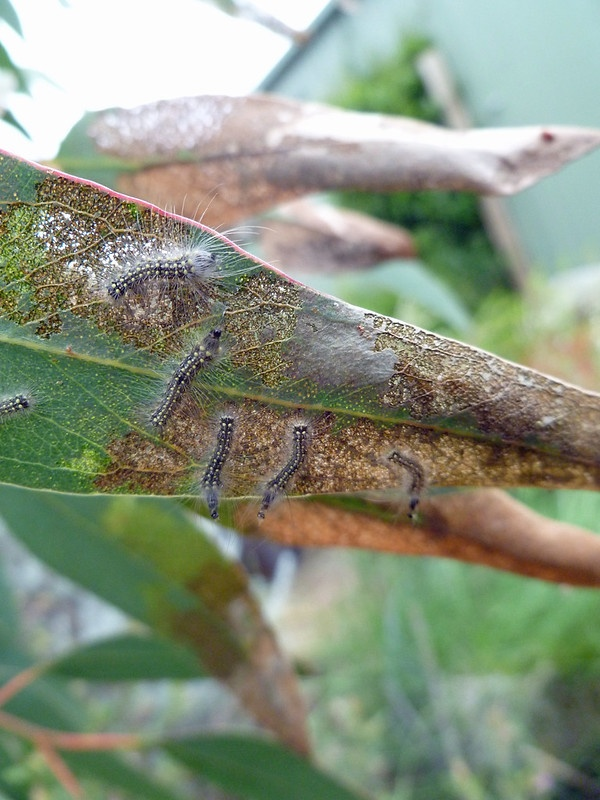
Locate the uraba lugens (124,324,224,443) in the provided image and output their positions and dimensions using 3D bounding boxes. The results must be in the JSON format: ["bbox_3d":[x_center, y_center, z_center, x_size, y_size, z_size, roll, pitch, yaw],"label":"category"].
[{"bbox_3d":[-0.319,-0.039,2.481,0.437,0.117,0.120,-43,105,1],"label":"uraba lugens"}]

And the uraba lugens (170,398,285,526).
[{"bbox_3d":[-0.193,0.152,2.497,0.350,0.053,0.304,2,107,-6],"label":"uraba lugens"}]

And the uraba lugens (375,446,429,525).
[{"bbox_3d":[0.283,0.238,2.494,0.125,0.059,0.176,-7,118,6],"label":"uraba lugens"}]
